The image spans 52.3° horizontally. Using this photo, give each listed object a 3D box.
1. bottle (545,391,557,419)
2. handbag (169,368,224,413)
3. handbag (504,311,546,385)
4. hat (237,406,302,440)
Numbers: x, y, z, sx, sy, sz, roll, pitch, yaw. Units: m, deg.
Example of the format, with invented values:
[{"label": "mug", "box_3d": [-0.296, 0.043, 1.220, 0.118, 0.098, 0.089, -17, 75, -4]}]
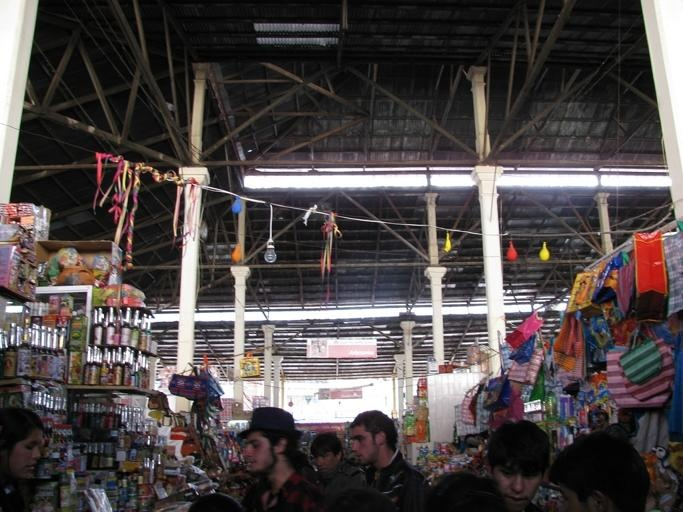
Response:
[{"label": "bottle", "box_3d": [2.896, 2.047, 9.555, 0.087, 0.367, 0.257, 3, -13, -18]}, {"label": "handbag", "box_3d": [-2.683, 2.394, 13.028, 0.666, 0.565, 1.096, 3, -31, 4]}, {"label": "handbag", "box_3d": [2.614, 1.299, 9.873, 0.524, 1.014, 0.569, -4, -13, 13]}, {"label": "hat", "box_3d": [-0.512, 1.270, 5.322, 0.348, 0.125, 0.280, 2, -1, 26]}]
